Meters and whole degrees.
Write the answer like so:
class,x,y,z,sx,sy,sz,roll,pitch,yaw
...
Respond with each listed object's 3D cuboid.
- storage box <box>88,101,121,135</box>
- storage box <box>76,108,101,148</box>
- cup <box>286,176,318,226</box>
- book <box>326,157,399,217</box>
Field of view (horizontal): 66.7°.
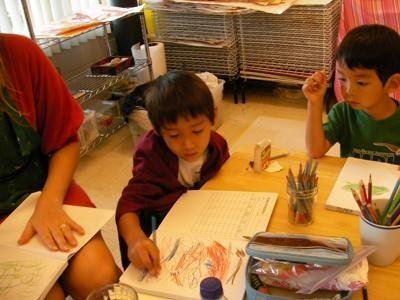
class,x,y,z,sx,sy,sz,roll,pitch,yaw
storage box,-0.855,-0.291,2.758,0.077,0.335,0.297,-29,-23,33
storage box,-0.811,-0.153,2.195,0.162,0.213,0.298,-9,9,-21
cup,0.291,0.150,0.908,0.102,0.169,0.112,-5,35,4
book,0.540,0.122,1.004,0.173,0.020,0.197,10,42,29
